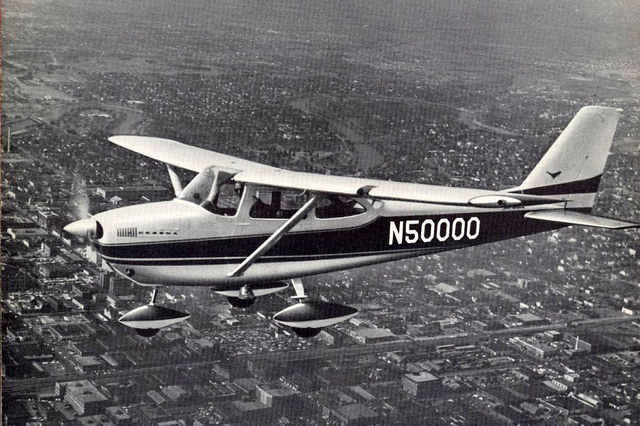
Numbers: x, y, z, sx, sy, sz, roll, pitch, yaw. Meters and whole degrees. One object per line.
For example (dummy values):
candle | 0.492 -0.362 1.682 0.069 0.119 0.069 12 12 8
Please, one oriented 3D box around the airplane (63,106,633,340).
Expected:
airplane | 0.121 0.143 11.745 5.885 1.273 4.763 -1 5 -19
